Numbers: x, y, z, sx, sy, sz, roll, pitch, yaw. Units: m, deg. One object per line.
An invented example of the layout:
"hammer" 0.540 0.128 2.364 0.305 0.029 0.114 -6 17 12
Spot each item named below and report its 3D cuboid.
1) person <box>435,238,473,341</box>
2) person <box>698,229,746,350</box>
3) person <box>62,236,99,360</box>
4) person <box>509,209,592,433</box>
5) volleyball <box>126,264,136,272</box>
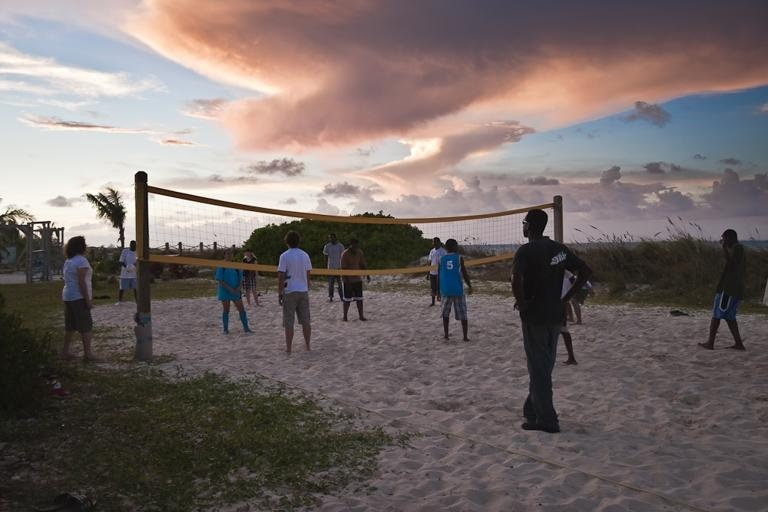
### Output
"person" 1.259 0.550 10.574 0.527 1.723 1.116 0 7 7
"person" 5.437 0.520 9.500 0.604 1.865 0.807 3 8 29
"person" -4.680 0.646 9.093 0.478 1.877 0.397 -3 8 -16
"person" 1.923 0.760 7.065 0.776 2.589 0.481 1 8 17
"volleyball" -5.852 0.280 13.913 0.144 0.226 0.312 0 7 7
